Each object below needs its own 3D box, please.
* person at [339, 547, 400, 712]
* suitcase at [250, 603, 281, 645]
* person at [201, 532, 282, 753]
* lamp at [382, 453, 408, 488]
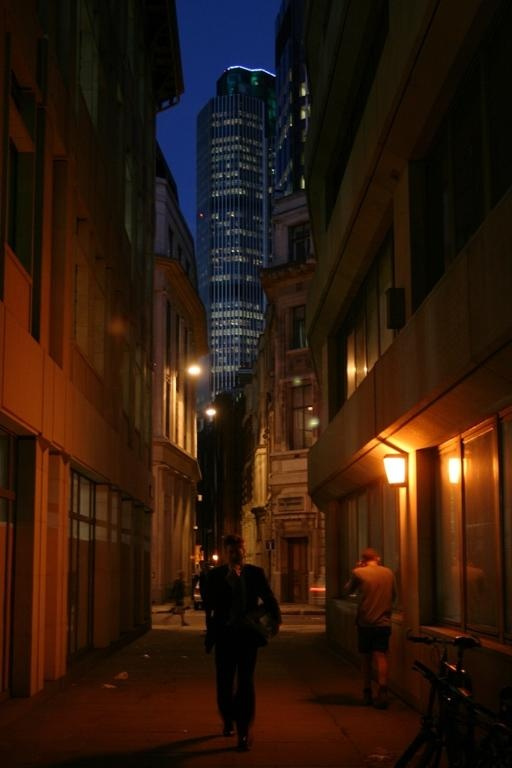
[{"bbox_3d":[1.426,2.983,9.488,0.551,1.872,2.478,-2,-19,9],"label":"person"},{"bbox_3d":[0.062,1.983,6.210,0.070,0.356,0.211,-11,18,34],"label":"suitcase"},{"bbox_3d":[-0.148,2.102,6.345,0.542,1.662,0.837,9,-16,-33],"label":"person"},{"bbox_3d":[1.645,1.020,9.072,0.200,0.576,0.319,1,-8,7],"label":"lamp"}]
